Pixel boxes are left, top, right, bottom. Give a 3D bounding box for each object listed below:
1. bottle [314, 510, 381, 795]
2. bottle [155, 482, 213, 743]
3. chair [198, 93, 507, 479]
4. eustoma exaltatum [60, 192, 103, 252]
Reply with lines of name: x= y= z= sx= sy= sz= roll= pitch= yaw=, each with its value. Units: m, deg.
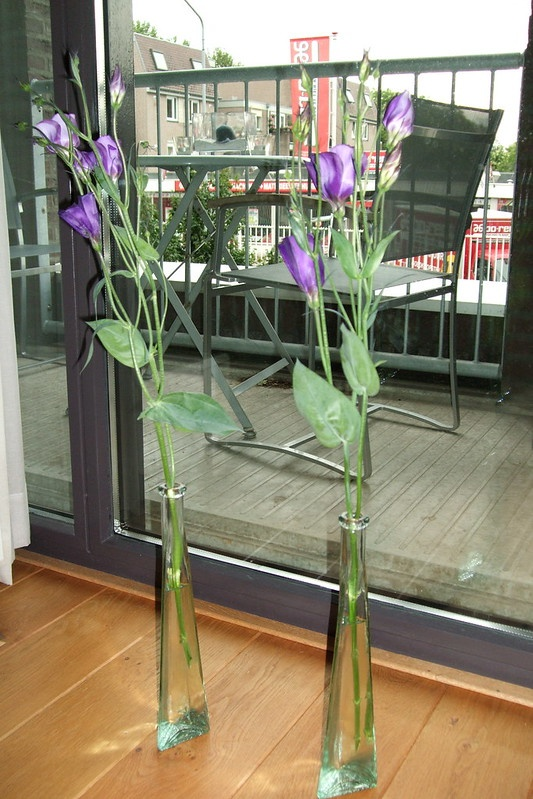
bottle: x=0.103 y=0.312 z=0.660 sx=0.082 sy=0.402 sz=0.122 roll=-1 pitch=6 yaw=-2
bottle: x=-0.124 y=0.305 z=0.790 sx=0.075 sy=0.425 sz=0.180 roll=-2 pitch=6 yaw=-7
chair: x=0.242 y=-0.209 z=1.120 sx=0.388 sy=0.516 sz=0.383 roll=0 pitch=4 yaw=-10
eustoma exaltatum: x=-0.188 y=-0.181 z=0.570 sx=0.034 sy=0.059 sz=0.081 roll=-2 pitch=7 yaw=-12
